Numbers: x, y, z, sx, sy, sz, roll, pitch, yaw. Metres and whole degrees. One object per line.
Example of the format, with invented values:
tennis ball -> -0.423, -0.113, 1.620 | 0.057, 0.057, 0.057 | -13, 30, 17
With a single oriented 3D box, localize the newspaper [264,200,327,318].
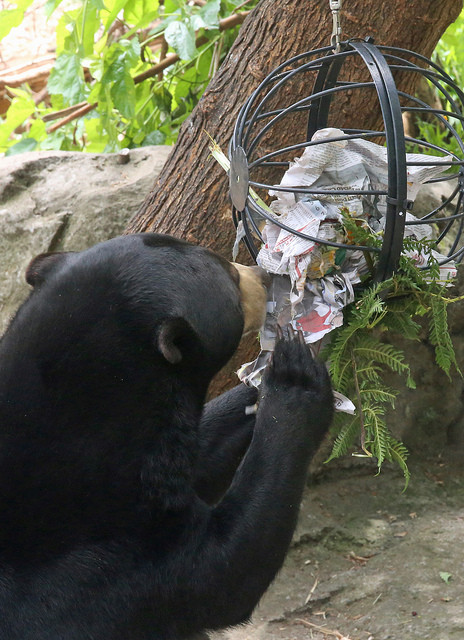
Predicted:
newspaper -> 0.205, -0.168, 1.566 | 0.232, 0.194, 0.233 | 16, 19, 42

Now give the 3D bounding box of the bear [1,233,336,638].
bear -> -0.137, 0.262, 1.594 | 0.763, 0.810, 0.682 | 0, 32, -2
